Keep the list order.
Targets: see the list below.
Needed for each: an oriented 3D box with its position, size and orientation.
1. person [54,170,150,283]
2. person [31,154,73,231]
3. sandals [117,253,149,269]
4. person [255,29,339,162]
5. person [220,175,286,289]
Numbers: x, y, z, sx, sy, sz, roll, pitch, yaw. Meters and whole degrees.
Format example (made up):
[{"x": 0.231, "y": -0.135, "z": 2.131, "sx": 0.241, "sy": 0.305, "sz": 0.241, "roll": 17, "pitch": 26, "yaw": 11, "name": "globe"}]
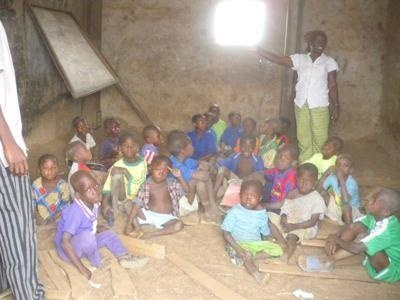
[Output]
[{"x": -0.986, "y": 0.700, "z": 4.481, "sx": 0.926, "sy": 0.906, "sz": 0.832, "roll": 5, "pitch": 11, "yaw": 15, "name": "person"}, {"x": -1.631, "y": 0.457, "z": 5.059, "sx": 0.411, "sy": 0.812, "sz": 0.446, "roll": -1, "pitch": 10, "yaw": -28, "name": "person"}, {"x": -0.648, "y": 1.066, "z": 4.488, "sx": 0.265, "sy": 0.121, "sz": 0.106, "roll": -1, "pitch": 7, "yaw": -6, "name": "sandals"}, {"x": 1.338, "y": -0.582, "z": 6.335, "sx": 1.029, "sy": 2.005, "sz": 0.616, "roll": -3, "pitch": 24, "yaw": 8, "name": "person"}, {"x": 0.492, "y": 0.730, "z": 4.530, "sx": 0.562, "sy": 0.787, "sz": 0.825, "roll": 1, "pitch": 5, "yaw": 16, "name": "person"}]
